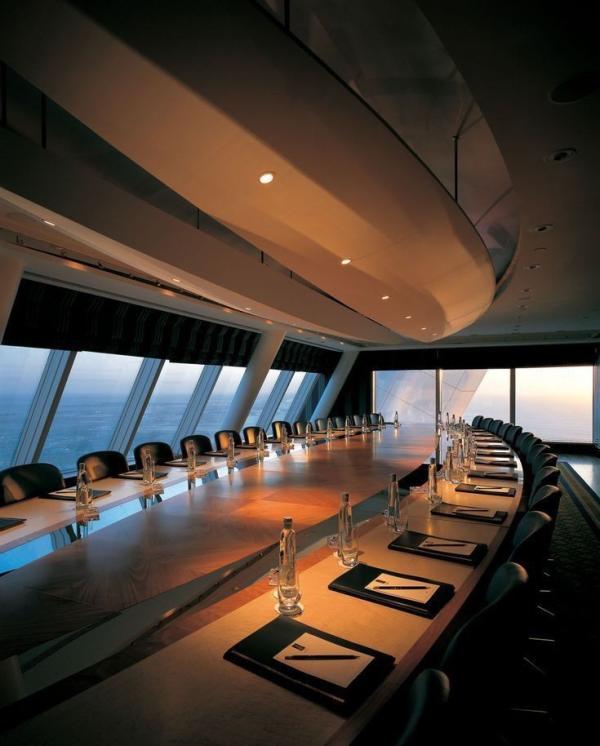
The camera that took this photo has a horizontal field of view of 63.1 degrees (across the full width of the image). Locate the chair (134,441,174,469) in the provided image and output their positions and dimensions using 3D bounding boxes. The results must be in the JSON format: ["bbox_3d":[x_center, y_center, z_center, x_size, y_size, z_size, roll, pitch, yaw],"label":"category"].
[{"bbox_3d":[-1.417,0.769,4.710,0.301,0.377,0.332,0,-3,-44],"label":"chair"}]

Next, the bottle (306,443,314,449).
[{"bbox_3d":[0.137,0.961,6.377,0.054,0.096,0.055,1,4,0],"label":"bottle"}]

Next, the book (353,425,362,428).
[{"bbox_3d":[1.296,1.175,10.727,0.137,0.030,0.122,-2,4,-5],"label":"book"}]

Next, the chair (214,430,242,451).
[{"bbox_3d":[-0.946,0.883,6.527,0.294,0.364,0.321,1,-4,-32],"label":"chair"}]

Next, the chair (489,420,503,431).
[{"bbox_3d":[3.973,1.068,9.737,0.236,0.225,0.241,11,-4,-29],"label":"chair"}]

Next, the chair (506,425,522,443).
[{"bbox_3d":[3.609,1.019,8.100,0.165,0.221,0.223,13,23,-8],"label":"chair"}]

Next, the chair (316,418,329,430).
[{"bbox_3d":[0.484,1.073,10.009,0.266,0.275,0.301,1,10,-3],"label":"chair"}]

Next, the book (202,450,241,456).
[{"bbox_3d":[-0.820,0.846,5.139,0.206,0.040,0.196,0,-1,28],"label":"book"}]

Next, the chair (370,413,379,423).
[{"bbox_3d":[1.921,1.153,12.334,0.209,0.269,0.231,1,-1,-34],"label":"chair"}]

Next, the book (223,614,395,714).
[{"bbox_3d":[0.024,0.704,1.200,0.372,0.022,0.247,0,-1,36],"label":"book"}]

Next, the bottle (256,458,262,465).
[{"bbox_3d":[-0.387,0.842,4.622,0.059,0.063,0.057,-1,-5,2],"label":"bottle"}]
